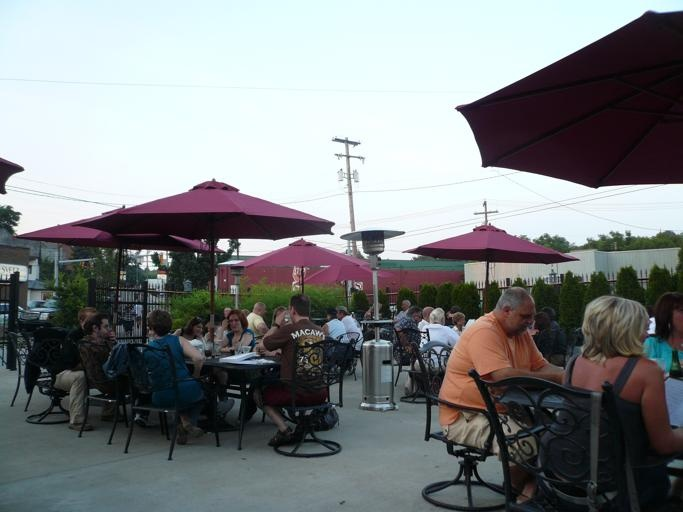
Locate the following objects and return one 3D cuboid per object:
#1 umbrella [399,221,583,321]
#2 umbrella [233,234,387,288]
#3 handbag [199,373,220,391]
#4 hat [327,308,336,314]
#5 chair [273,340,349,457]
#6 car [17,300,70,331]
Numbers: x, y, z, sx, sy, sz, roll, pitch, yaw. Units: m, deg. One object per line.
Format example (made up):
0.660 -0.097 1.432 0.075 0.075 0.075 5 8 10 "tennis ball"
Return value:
2.549 0.009 11.357 2.204 1.458 2.228 -3 -5 32 "umbrella"
-0.830 0.132 13.235 1.719 0.717 1.781 -6 -6 39 "umbrella"
-1.525 1.462 7.784 0.196 0.097 0.260 17 -11 -2 "handbag"
-0.156 0.913 11.366 0.107 0.121 0.130 7 -13 -22 "hat"
-0.354 1.507 7.536 0.817 1.285 0.868 1 -1 -12 "chair"
-8.177 1.594 18.325 1.114 0.851 1.814 -1 -8 -4 "car"
